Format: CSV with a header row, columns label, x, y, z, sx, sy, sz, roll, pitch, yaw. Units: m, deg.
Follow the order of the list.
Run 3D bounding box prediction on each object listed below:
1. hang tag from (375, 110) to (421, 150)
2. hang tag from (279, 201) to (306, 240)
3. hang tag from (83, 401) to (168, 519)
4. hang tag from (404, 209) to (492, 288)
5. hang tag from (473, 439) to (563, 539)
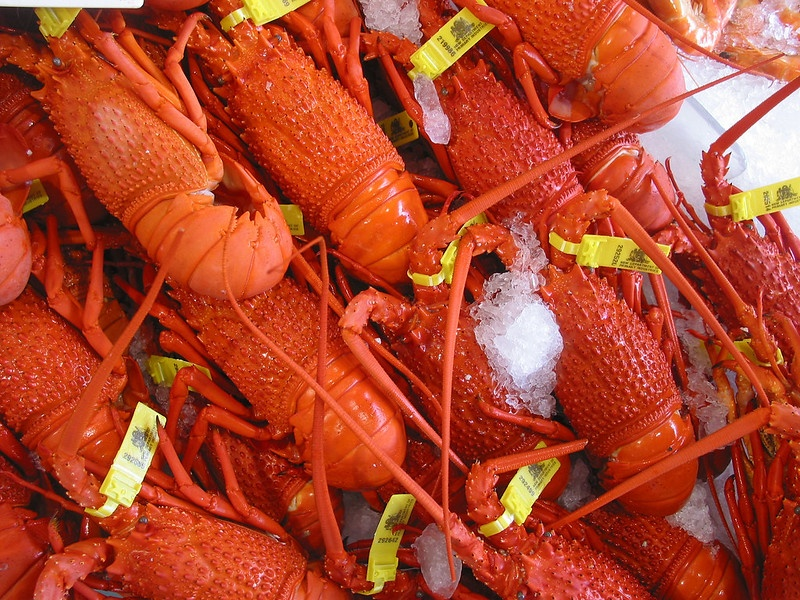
label,x,y,z,sx,sy,sz,roll,pitch,yaw
hang tag,-0.018,-0.739,2.952,0.026,0.194,0.156,-34,98,-36
hang tag,-0.436,-0.330,2.829,0.083,0.168,0.042,-2,37,11
hang tag,-1.001,0.564,2.561,0.146,0.114,0.531,33,49,-28
hang tag,0.182,-0.146,2.696,0.089,0.334,0.241,29,22,-26
hang tag,0.452,0.725,2.653,0.061,0.230,0.399,21,65,34
